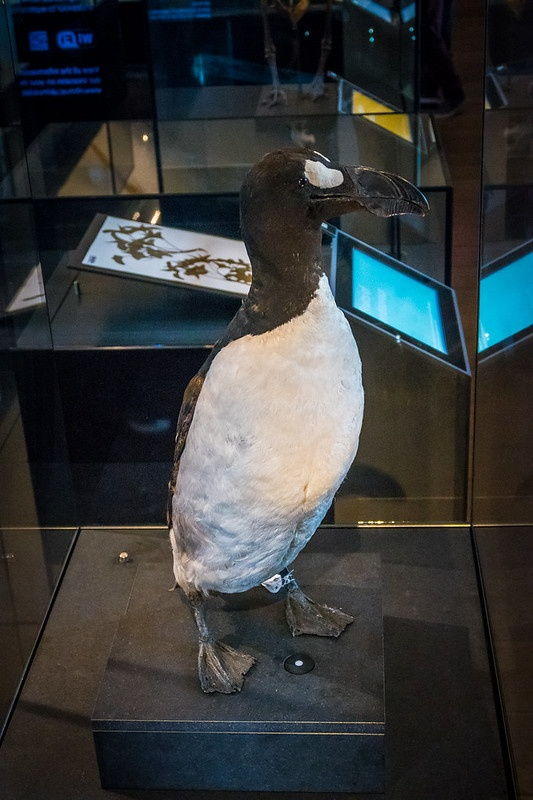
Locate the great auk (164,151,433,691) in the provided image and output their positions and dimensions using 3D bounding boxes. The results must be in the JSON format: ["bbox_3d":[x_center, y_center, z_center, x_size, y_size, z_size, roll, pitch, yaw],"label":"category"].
[{"bbox_3d":[0.038,0.048,1.579,0.574,1.097,0.421,4,17,9],"label":"great auk"}]
